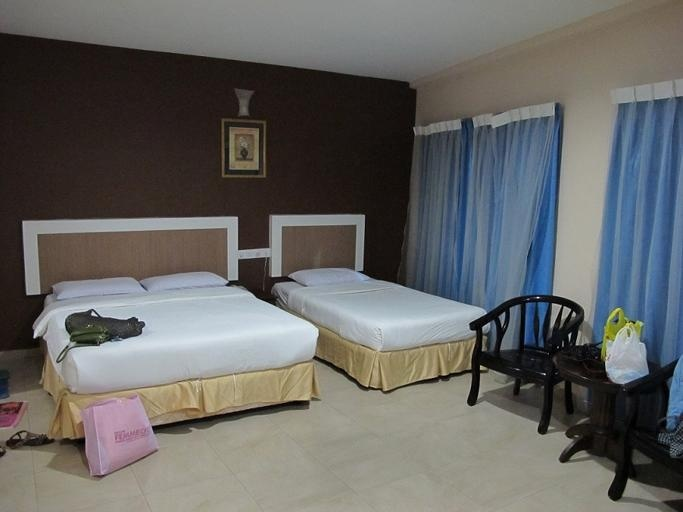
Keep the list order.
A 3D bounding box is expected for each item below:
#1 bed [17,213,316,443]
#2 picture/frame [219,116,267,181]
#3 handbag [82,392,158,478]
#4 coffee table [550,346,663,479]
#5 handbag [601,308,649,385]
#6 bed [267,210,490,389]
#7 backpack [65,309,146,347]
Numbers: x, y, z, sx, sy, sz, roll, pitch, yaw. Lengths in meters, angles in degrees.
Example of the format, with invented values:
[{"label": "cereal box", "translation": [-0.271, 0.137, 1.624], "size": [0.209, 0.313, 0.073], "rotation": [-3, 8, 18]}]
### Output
[{"label": "bed", "translation": [-1.724, 0.880, 4.797], "size": [2.223, 1.495, 2.177], "rotation": [-3, 10, -27]}, {"label": "picture/frame", "translation": [-1.215, -1.318, 5.915], "size": [0.734, 0.957, 0.059], "rotation": [-2, 4, -29]}, {"label": "handbag", "translation": [-1.599, 1.287, 3.498], "size": [0.173, 0.442, 0.426], "rotation": [-22, -6, 40]}, {"label": "coffee table", "translation": [1.965, 1.144, 3.966], "size": [0.814, 0.933, 0.870], "rotation": [-4, 10, -20]}, {"label": "handbag", "translation": [2.186, 0.702, 3.752], "size": [0.235, 0.496, 0.406], "rotation": [-8, 9, -12]}, {"label": "bed", "translation": [0.262, 0.275, 5.609], "size": [1.501, 1.614, 2.389], "rotation": [-5, 10, -27]}, {"label": "backpack", "translation": [-1.843, 0.563, 3.803], "size": [0.327, 0.118, 0.322], "rotation": [-5, 10, -39]}]
